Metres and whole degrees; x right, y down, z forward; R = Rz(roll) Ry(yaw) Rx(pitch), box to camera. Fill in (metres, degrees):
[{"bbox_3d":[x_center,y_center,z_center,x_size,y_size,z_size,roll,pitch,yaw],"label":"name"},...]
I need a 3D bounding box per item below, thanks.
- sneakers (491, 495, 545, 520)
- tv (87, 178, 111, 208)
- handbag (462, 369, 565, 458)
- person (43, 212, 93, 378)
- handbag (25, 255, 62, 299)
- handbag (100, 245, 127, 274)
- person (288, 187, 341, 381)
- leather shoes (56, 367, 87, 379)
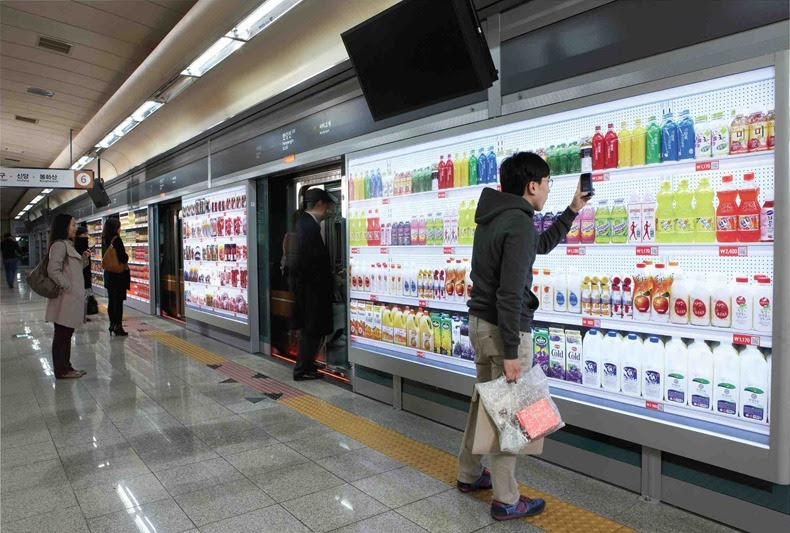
[{"bbox_3d":[0.866,1.691,3.491,0.381,0.156,0.149,-3,1,-15],"label":"sneakers"},{"bbox_3d":[-7.892,-1.996,13.015,0.372,0.721,0.752,-5,8,-35],"label":"tv"},{"bbox_3d":[0.802,0.966,3.403,0.566,0.568,0.560,-4,-19,-21],"label":"handbag"},{"bbox_3d":[-4.208,0.373,6.226,0.419,2.093,0.610,-4,7,-33],"label":"person"},{"bbox_3d":[-4.356,0.133,6.016,0.393,0.551,0.265,3,7,27],"label":"handbag"},{"bbox_3d":[-4.745,-0.135,8.242,0.343,0.467,0.201,-4,7,-31],"label":"handbag"},{"bbox_3d":[-1.032,0.209,6.071,0.527,2.345,0.382,-2,6,-9],"label":"person"},{"bbox_3d":[-4.160,1.367,6.274,0.215,0.091,0.124,-6,2,-9],"label":"leather shoes"}]
